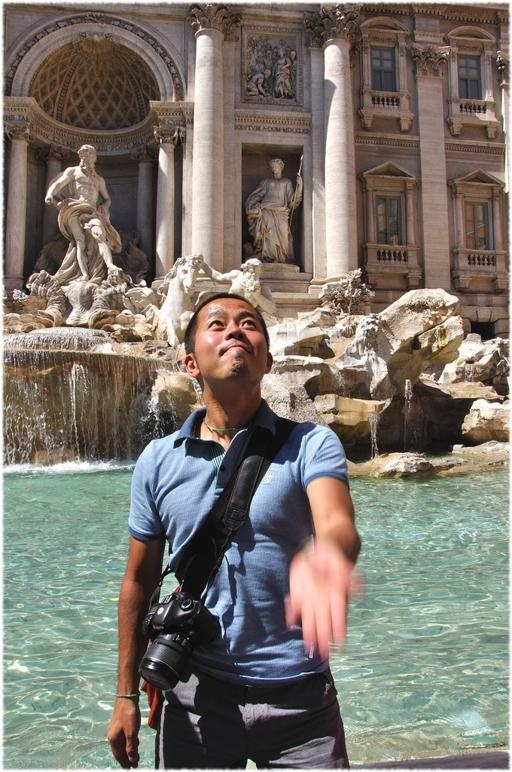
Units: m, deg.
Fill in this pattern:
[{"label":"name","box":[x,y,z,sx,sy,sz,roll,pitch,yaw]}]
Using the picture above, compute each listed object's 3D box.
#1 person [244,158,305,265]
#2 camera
[{"label":"person","box":[0.504,-4.619,20.959,1.529,2.806,0.755,-1,2,-1]},{"label":"camera","box":[-0.196,0.581,1.811,0.187,0.117,0.200,-20,30,30]}]
